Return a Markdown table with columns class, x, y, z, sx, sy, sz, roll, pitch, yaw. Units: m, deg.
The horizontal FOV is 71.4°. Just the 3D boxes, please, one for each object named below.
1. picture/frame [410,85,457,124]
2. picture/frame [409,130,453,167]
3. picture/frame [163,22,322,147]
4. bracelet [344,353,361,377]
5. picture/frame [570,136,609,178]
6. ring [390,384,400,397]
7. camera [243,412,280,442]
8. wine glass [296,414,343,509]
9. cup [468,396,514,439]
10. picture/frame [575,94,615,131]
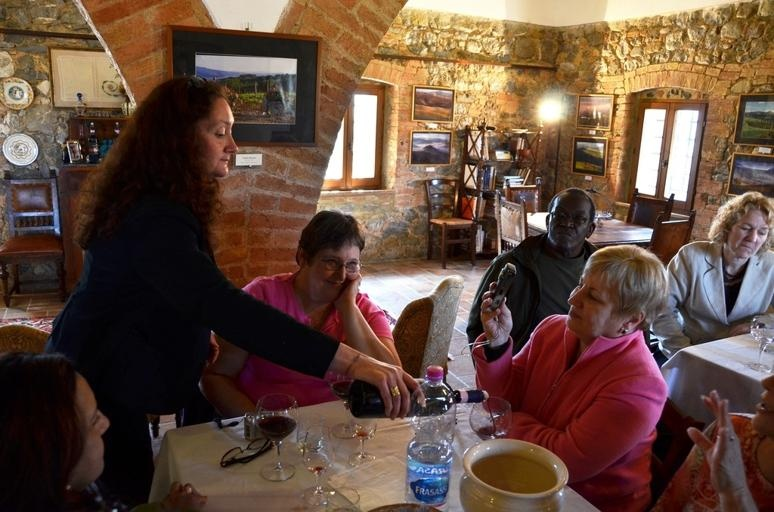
| class | x | y | z | sx | sy | sz | roll | pitch | yaw |
| --- | --- | --- | --- | --- | --- | --- | --- | --- | --- |
| picture/frame | 0.617 | -2.142 | 7.569 | 0.607 | 0.408 | 0.058 | -3 | 15 | -22 |
| picture/frame | 0.592 | -1.556 | 7.697 | 0.567 | 0.393 | 0.041 | -4 | 11 | -24 |
| picture/frame | -0.773 | -0.928 | 2.818 | 1.095 | 0.764 | 0.040 | -1 | 10 | -15 |
| bracelet | -0.117 | 0.355 | 1.785 | 0.015 | 0.065 | 0.066 | 34 | -10 | -10 |
| picture/frame | 3.039 | -1.471 | 7.976 | 0.047 | 0.630 | 0.642 | -11 | 15 | -37 |
| ring | 0.025 | 0.439 | 1.764 | 0.033 | 0.033 | 0.013 | -8 | 4 | 28 |
| camera | -0.442 | 0.597 | 1.888 | 0.132 | 0.085 | 0.074 | 4 | 4 | -24 |
| wine glass | -0.248 | 0.680 | 1.878 | 0.116 | 0.177 | 0.437 | 0 | 5 | -12 |
| cup | 0.384 | 0.594 | 2.044 | 0.149 | 0.149 | 0.150 | 0 | 0 | 0 |
| picture/frame | 3.070 | -2.095 | 7.846 | 0.072 | 0.501 | 0.556 | -6 | 18 | -35 |
